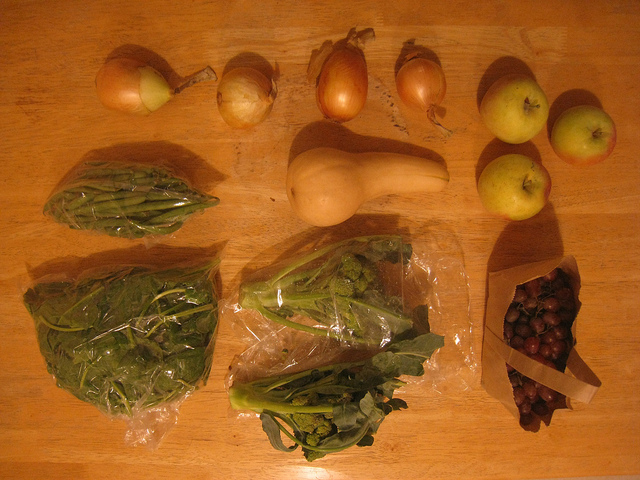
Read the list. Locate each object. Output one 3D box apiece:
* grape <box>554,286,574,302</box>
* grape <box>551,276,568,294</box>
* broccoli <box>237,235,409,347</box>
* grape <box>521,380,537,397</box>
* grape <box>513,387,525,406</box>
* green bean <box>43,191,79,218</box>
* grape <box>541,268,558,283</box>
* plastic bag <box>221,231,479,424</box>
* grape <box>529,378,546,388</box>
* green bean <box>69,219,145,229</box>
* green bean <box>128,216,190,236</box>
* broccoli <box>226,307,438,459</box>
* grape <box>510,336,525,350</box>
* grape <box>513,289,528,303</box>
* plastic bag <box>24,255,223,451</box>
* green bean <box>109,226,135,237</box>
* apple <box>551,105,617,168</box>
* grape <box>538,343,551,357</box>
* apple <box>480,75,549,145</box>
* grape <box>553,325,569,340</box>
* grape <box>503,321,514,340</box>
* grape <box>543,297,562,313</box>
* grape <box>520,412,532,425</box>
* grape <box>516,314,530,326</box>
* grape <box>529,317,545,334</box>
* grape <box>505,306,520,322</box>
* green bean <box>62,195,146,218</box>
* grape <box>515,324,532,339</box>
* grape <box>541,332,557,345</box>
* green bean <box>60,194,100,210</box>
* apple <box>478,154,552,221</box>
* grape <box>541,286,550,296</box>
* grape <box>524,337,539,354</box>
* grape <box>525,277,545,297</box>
[{"bbox_3d":[0.747,0.164,1.881,0.051,0.036,0.037,-5,22,-9],"label":"grape"},{"bbox_3d":[0.736,0.140,1.900,0.053,0.058,0.050,8,-7,-2],"label":"grape"},{"bbox_3d":[0.010,0.190,1.908,0.531,0.303,0.132,-1,-34,-7],"label":"broccoli"},{"bbox_3d":[0.641,0.455,1.881,0.039,0.049,0.028,-39,-28,16],"label":"grape"},{"bbox_3d":[0.611,0.479,1.885,0.041,0.049,0.028,-1,-19,10],"label":"grape"},{"bbox_3d":[-0.799,-0.110,1.905,0.080,0.062,0.023,-42,-26,10],"label":"green bean"},{"bbox_3d":[0.712,0.106,1.899,0.044,0.043,0.038,27,-34,-37],"label":"grape"},{"bbox_3d":[0.092,0.213,1.774,0.776,0.533,0.269,-1,-1,-4],"label":"plastic bag"},{"bbox_3d":[0.668,0.439,1.891,0.036,0.019,0.029,5,-3,-40],"label":"grape"},{"bbox_3d":[-0.659,-0.052,1.888,0.237,0.028,0.029,-1,-27,10],"label":"green bean"},{"bbox_3d":[-0.490,-0.049,1.897,0.165,0.042,0.052,-5,21,-28],"label":"green bean"},{"bbox_3d":[0.053,0.477,1.884,0.637,0.170,0.302,-12,20,-7],"label":"broccoli"},{"bbox_3d":[0.607,0.316,1.895,0.039,0.044,0.038,18,-3,-17],"label":"grape"},{"bbox_3d":[0.615,0.171,1.884,0.040,0.044,0.038,3,-5,6],"label":"grape"},{"bbox_3d":[-0.634,0.303,2.049,0.563,0.449,0.560,-16,-50,-20],"label":"plastic bag"},{"bbox_3d":[-0.607,-0.029,1.891,0.050,0.012,0.011,-18,-38,4],"label":"green bean"},{"bbox_3d":[0.785,-0.323,1.919,0.196,0.178,0.189,-1,10,5],"label":"apple"},{"bbox_3d":[0.687,0.337,1.879,0.039,0.038,0.040,25,-36,-33],"label":"grape"},{"bbox_3d":[0.635,-0.425,1.935,0.216,0.238,0.166,20,-31,-29],"label":"apple"},{"bbox_3d":[0.739,0.285,1.885,0.049,0.036,0.028,2,-27,5],"label":"grape"},{"bbox_3d":[0.585,0.279,1.905,0.034,0.054,0.031,-5,-1,2],"label":"grape"},{"bbox_3d":[0.707,0.199,1.879,0.048,0.054,0.046,-13,-5,19],"label":"grape"},{"bbox_3d":[0.643,0.557,1.917,0.035,0.032,0.034,-7,-5,8],"label":"grape"},{"bbox_3d":[0.629,0.247,1.900,0.028,0.026,0.036,-14,-11,38],"label":"grape"},{"bbox_3d":[0.664,0.262,1.881,0.037,0.043,0.032,-19,-35,39],"label":"grape"},{"bbox_3d":[0.590,0.226,1.892,0.042,0.045,0.040,-13,-32,32],"label":"grape"},{"bbox_3d":[-0.652,-0.104,1.870,0.186,0.024,0.023,-13,-25,0],"label":"green bean"},{"bbox_3d":[0.627,0.280,1.888,0.048,0.035,0.034,7,-42,-7],"label":"grape"},{"bbox_3d":[0.698,0.301,1.877,0.043,0.030,0.031,-4,2,-24],"label":"grape"},{"bbox_3d":[-0.722,-0.117,1.869,0.084,0.016,0.021,-22,0,4],"label":"green bean"},{"bbox_3d":[0.594,-0.163,1.890,0.209,0.172,0.123,-8,-29,24],"label":"apple"},{"bbox_3d":[0.704,0.158,1.894,0.026,0.024,0.008,3,0,9],"label":"grape"},{"bbox_3d":[0.646,0.322,1.872,0.040,0.039,0.049,4,-35,7],"label":"grape"},{"bbox_3d":[0.661,0.145,1.887,0.050,0.061,0.035,1,1,5],"label":"grape"}]
